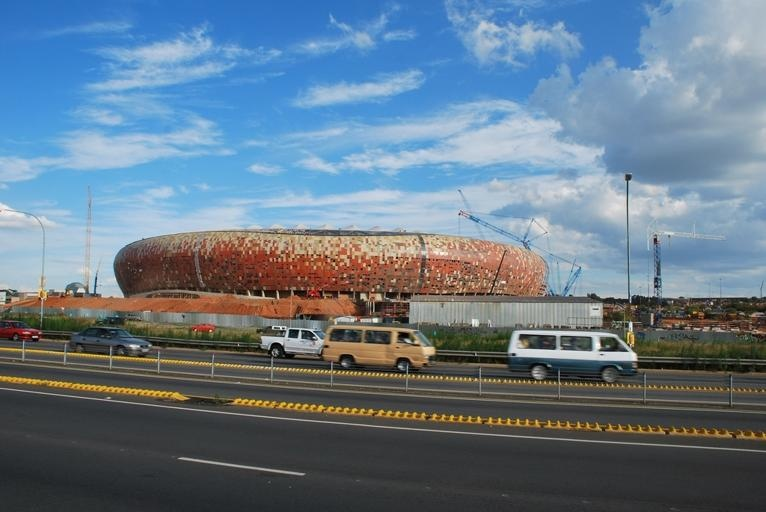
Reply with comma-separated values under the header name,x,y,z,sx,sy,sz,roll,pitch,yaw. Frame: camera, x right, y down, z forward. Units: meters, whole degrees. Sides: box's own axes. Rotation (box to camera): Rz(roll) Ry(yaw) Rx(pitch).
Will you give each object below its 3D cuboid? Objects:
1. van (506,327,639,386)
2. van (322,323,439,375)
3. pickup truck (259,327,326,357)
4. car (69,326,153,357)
name,x,y,z,sx,sy,sz,roll,pitch,yaw
van,7.696,4.244,30.385,5.177,2.044,2.229,0,-2,8
van,-0.206,4.245,33.949,4.521,1.690,2.210,-1,-2,11
pickup truck,-4.684,4.581,39.359,3.493,1.101,1.667,-2,-5,19
car,-13.731,4.326,37.395,4.238,1.444,1.279,-3,-5,30
